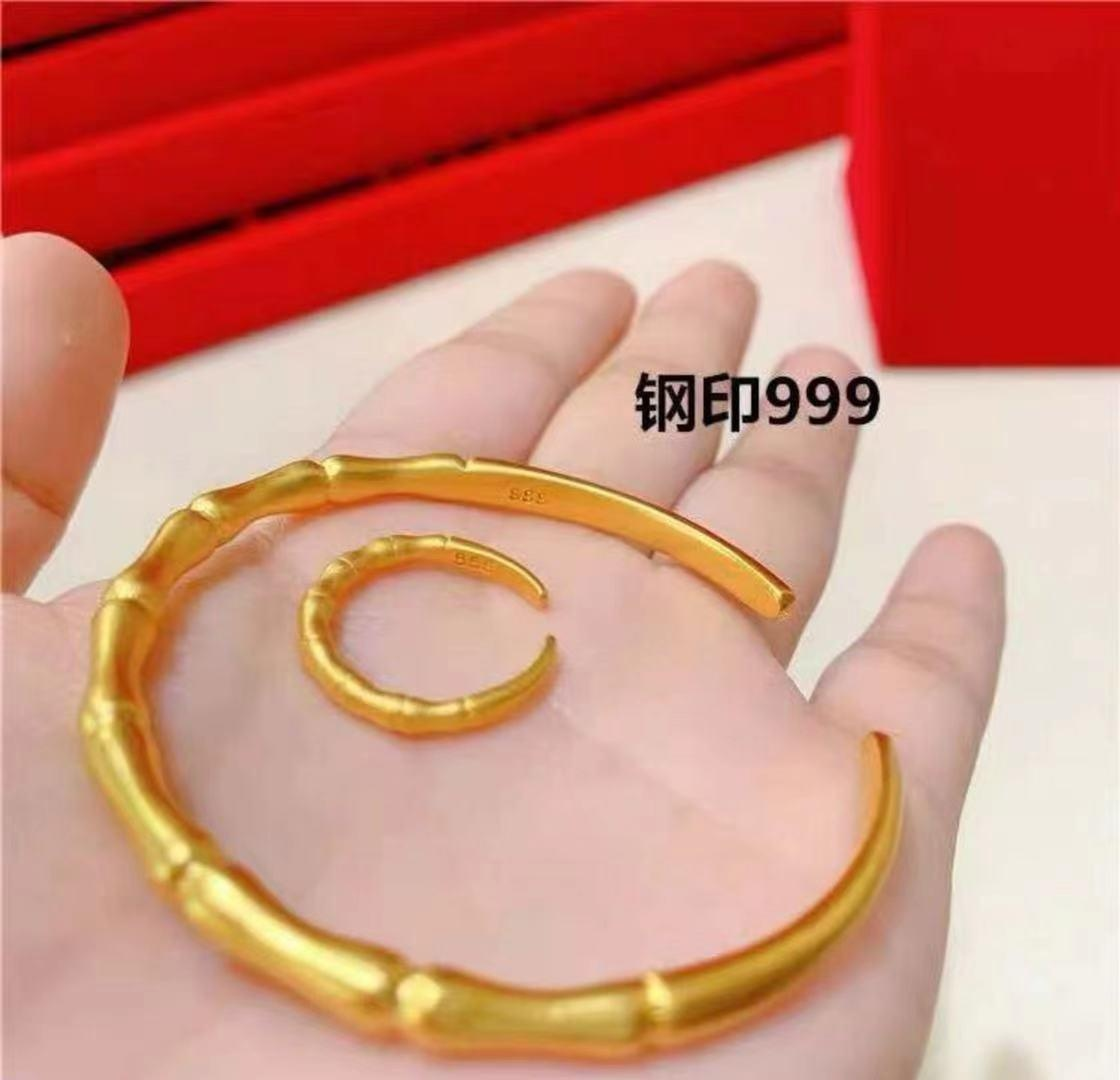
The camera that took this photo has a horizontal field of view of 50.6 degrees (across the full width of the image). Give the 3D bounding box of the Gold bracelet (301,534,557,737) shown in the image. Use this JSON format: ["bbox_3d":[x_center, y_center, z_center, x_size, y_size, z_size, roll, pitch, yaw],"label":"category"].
[{"bbox_3d":[-0.099,0.075,0.916,0.190,0.042,0.181,-1,50,-13],"label":"Gold bracelet"}]
